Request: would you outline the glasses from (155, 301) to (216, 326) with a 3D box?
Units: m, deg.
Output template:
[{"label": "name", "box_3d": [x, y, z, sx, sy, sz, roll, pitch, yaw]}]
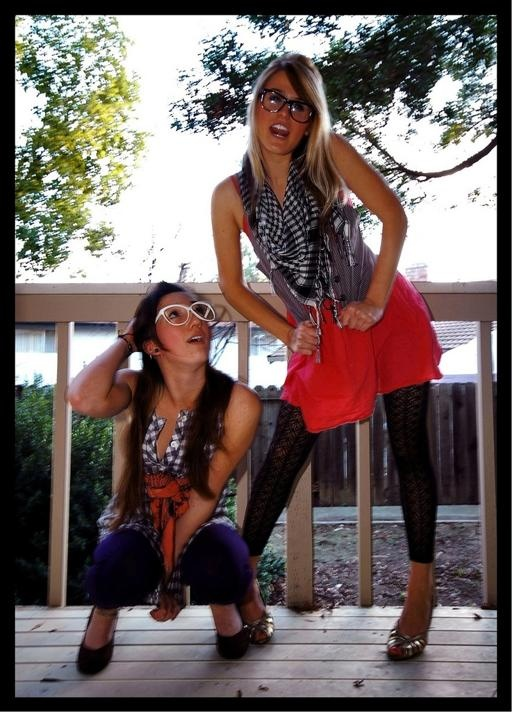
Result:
[{"label": "glasses", "box_3d": [-0.158, -0.100, 1.478, 0.085, 0.028, 0.084, 5, -27, -35]}]

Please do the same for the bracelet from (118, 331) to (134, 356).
[{"label": "bracelet", "box_3d": [-0.318, -0.031, 1.541, 0.035, 0.054, 0.058, 1, 7, 30]}]

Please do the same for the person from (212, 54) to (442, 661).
[{"label": "person", "box_3d": [0.160, 0.000, 1.467, 0.534, 1.355, 0.325, -1, 7, 16]}]

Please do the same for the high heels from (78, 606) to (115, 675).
[{"label": "high heels", "box_3d": [-0.359, 0.664, 1.391, 0.088, 0.084, 0.056, -7, 8, -26]}]
